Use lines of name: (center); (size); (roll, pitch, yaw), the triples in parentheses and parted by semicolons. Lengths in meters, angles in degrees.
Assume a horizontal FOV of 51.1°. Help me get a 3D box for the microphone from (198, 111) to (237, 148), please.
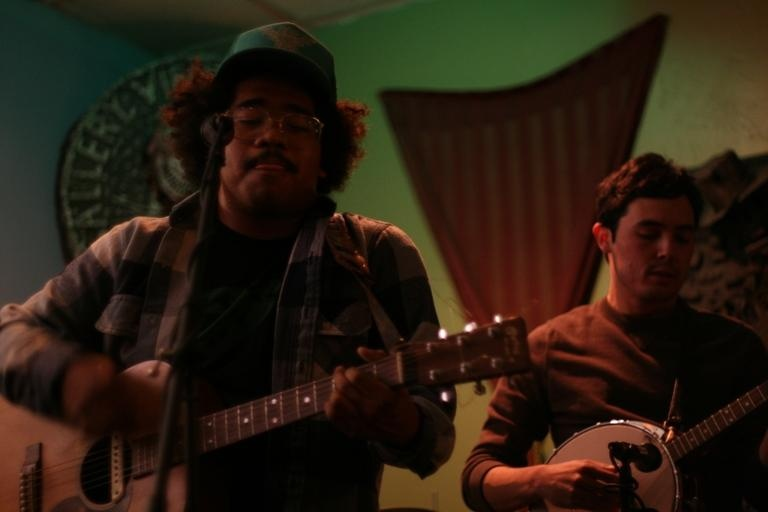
microphone: (-0.654, -0.497, 3.112); (0.123, 0.087, 0.160); (7, -8, -10)

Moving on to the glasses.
glasses: (-0.440, -0.527, 3.275); (0.211, 0.070, 0.223); (5, -19, -12)

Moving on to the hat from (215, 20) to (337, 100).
hat: (-0.406, -0.824, 3.529); (0.438, 0.306, 0.587); (17, 2, -29)
